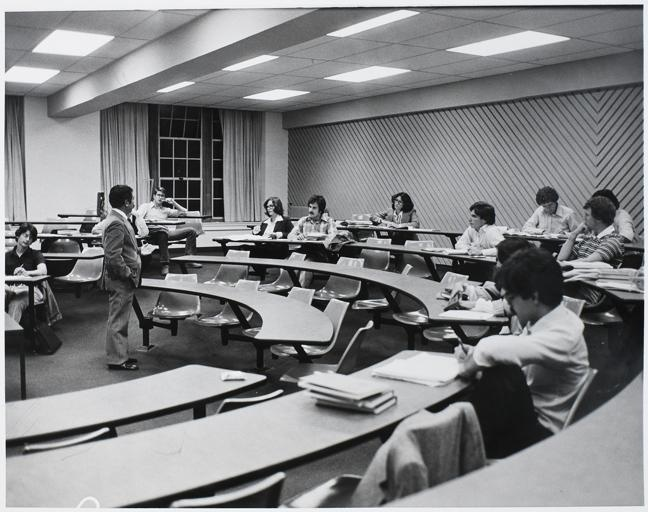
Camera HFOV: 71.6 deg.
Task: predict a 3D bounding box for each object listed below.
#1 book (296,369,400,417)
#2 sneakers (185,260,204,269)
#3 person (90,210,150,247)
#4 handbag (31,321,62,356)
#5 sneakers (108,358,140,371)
[{"bbox_3d":[0.092,0.570,1.909,0.220,0.058,0.206,4,5,19],"label":"book"},{"bbox_3d":[-2.465,0.160,8.538,0.334,0.106,0.175,0,2,13],"label":"sneakers"},{"bbox_3d":[-2.825,-0.368,6.284,0.763,0.413,1.010,2,14,-3],"label":"person"},{"bbox_3d":[-2.993,0.891,4.846,0.154,0.261,0.270,-21,10,5],"label":"handbag"},{"bbox_3d":[-1.911,1.044,4.415,0.326,0.137,0.109,-3,6,-12],"label":"sneakers"}]
